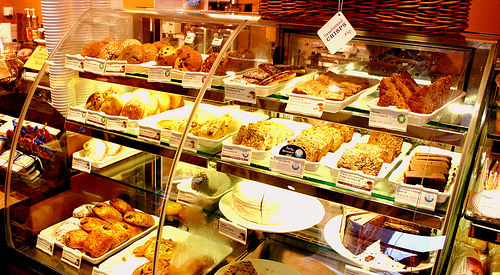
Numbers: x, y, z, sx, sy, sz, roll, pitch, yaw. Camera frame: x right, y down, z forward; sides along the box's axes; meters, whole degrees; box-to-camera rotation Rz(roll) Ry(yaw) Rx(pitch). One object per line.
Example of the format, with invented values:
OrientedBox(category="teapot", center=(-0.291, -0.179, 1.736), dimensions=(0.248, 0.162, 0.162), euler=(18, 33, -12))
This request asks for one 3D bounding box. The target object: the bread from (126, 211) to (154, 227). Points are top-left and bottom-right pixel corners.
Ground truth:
OrientedBox(category="bread", center=(-0.894, 0.673, 2.628), dimensions=(0.180, 0.058, 0.130), euler=(17, 7, -45))

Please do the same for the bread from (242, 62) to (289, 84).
OrientedBox(category="bread", center=(0.111, -0.411, 2.069), dimensions=(0.196, 0.053, 0.193), euler=(-28, 42, -35))

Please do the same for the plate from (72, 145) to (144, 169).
OrientedBox(category="plate", center=(-1.143, 0.168, 2.661), dimensions=(0.279, 0.050, 0.416), euler=(18, 27, 35))

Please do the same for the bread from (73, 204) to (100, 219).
OrientedBox(category="bread", center=(-1.377, 0.612, 2.668), dimensions=(0.146, 0.042, 0.106), euler=(-17, 31, -36))

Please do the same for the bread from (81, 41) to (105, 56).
OrientedBox(category="bread", center=(-1.208, -0.687, 2.455), dimensions=(0.159, 0.126, 0.043), euler=(-6, -21, -3))

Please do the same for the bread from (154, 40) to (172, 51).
OrientedBox(category="bread", center=(-0.683, -0.728, 2.470), dimensions=(0.102, 0.048, 0.095), euler=(9, 28, 20))

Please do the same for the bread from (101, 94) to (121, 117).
OrientedBox(category="bread", center=(-1.041, -0.243, 2.404), dimensions=(0.144, 0.152, 0.054), euler=(2, -4, 7))

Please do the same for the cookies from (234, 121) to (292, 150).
OrientedBox(category="cookies", center=(0.116, -0.028, 2.160), dimensions=(0.204, 0.085, 0.321), euler=(20, 28, 34))

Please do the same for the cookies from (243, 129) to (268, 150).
OrientedBox(category="cookies", center=(0.041, 0.014, 2.081), dimensions=(0.149, 0.101, 0.083), euler=(19, 24, 22))

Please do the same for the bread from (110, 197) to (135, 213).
OrientedBox(category="bread", center=(-1.070, 0.569, 2.677), dimensions=(0.172, 0.038, 0.098), euler=(28, 40, 3))

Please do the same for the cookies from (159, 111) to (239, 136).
OrientedBox(category="cookies", center=(-0.354, -0.104, 2.254), dimensions=(0.364, 0.054, 0.259), euler=(17, 31, 32))

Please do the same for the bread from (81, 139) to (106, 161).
OrientedBox(category="bread", center=(-1.270, 0.102, 2.623), dimensions=(0.179, 0.175, 0.104), euler=(3, -8, 1))

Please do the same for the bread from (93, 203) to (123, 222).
OrientedBox(category="bread", center=(-1.171, 0.633, 2.649), dimensions=(0.208, 0.051, 0.129), euler=(28, 41, -8))

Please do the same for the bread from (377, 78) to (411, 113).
OrientedBox(category="bread", center=(0.798, -0.227, 1.833), dimensions=(0.051, 0.173, 0.186), euler=(-34, 6, 44))

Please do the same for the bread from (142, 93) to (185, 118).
OrientedBox(category="bread", center=(-0.669, -0.279, 2.544), dimensions=(0.238, 0.197, 0.056), euler=(-17, 18, -14))

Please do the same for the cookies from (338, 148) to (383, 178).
OrientedBox(category="cookies", center=(0.652, 0.148, 1.898), dimensions=(0.180, 0.048, 0.173), euler=(15, 44, 25))

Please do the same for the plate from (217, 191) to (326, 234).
OrientedBox(category="plate", center=(0.208, 0.590, 2.313), dimensions=(0.471, 0.044, 0.435), euler=(-2, 15, -9))

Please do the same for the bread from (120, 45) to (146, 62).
OrientedBox(category="bread", center=(-0.855, -0.620, 2.358), dimensions=(0.151, 0.129, 0.075), euler=(4, -13, -6))

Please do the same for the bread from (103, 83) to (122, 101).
OrientedBox(category="bread", center=(-1.079, -0.364, 2.512), dimensions=(0.133, 0.041, 0.089), euler=(-14, 69, -19))

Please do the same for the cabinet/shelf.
OrientedBox(category="cabinet/shelf", center=(0.023, 0.031, 2.164), dimensions=(2.185, 1.190, 0.722), euler=(10, 19, 15))

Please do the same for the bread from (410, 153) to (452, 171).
OrientedBox(category="bread", center=(1.055, 0.133, 1.857), dimensions=(0.199, 0.070, 0.144), euler=(21, 25, 28))

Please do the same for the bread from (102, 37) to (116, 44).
OrientedBox(category="bread", center=(-1.114, -0.757, 2.517), dimensions=(0.084, 0.043, 0.083), euler=(12, 20, 42))

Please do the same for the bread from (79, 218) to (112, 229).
OrientedBox(category="bread", center=(-1.259, 0.688, 2.560), dimensions=(0.139, 0.038, 0.099), euler=(6, 28, -7))

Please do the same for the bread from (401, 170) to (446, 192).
OrientedBox(category="bread", center=(0.965, 0.232, 1.745), dimensions=(0.278, 0.089, 0.096), euler=(7, 0, 27))

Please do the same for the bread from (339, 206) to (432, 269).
OrientedBox(category="bread", center=(0.806, 0.636, 2.084), dimensions=(0.388, 0.119, 0.365), euler=(-17, 28, -13))

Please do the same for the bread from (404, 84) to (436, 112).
OrientedBox(category="bread", center=(0.968, -0.214, 1.774), dimensions=(0.149, 0.142, 0.119), euler=(-7, 28, -35))

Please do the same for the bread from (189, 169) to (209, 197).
OrientedBox(category="bread", center=(-0.351, 0.331, 2.242), dimensions=(0.137, 0.155, 0.069), euler=(-3, -4, 31))
